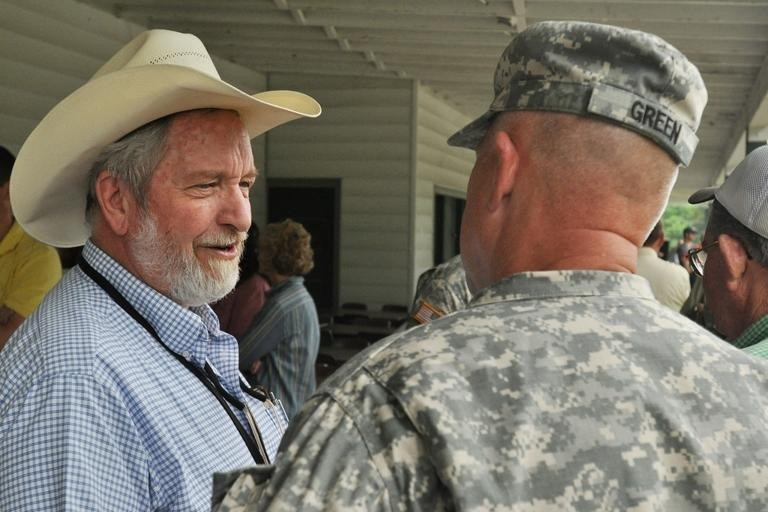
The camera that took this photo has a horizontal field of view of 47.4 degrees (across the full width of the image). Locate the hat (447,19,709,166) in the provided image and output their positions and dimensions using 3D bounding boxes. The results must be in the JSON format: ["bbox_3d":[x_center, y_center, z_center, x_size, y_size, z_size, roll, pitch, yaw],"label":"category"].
[{"bbox_3d":[0.686,-0.486,2.841,0.595,0.285,0.455,8,-1,35],"label":"hat"}]
